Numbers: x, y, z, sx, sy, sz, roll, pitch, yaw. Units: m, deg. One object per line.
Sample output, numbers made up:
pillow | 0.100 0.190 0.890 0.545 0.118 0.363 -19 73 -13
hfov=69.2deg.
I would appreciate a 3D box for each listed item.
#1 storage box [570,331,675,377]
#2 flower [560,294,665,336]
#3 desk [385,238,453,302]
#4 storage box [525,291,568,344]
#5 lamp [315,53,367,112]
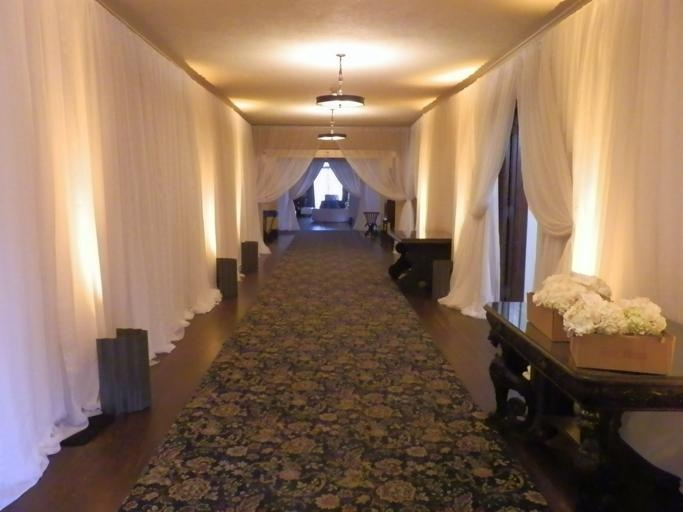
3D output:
storage box | 1.380 0.465 2.413 0.264 0.114 0.278 1 3 6
flower | 1.354 0.293 2.465 0.337 0.142 0.258 -3 20 9
desk | 1.104 0.055 7.434 0.845 0.657 1.356 3 5 -5
storage box | 1.164 0.369 2.834 0.192 0.188 0.371 0 16 -1
lamp | -0.011 -2.027 5.668 0.468 0.517 0.480 9 15 32
